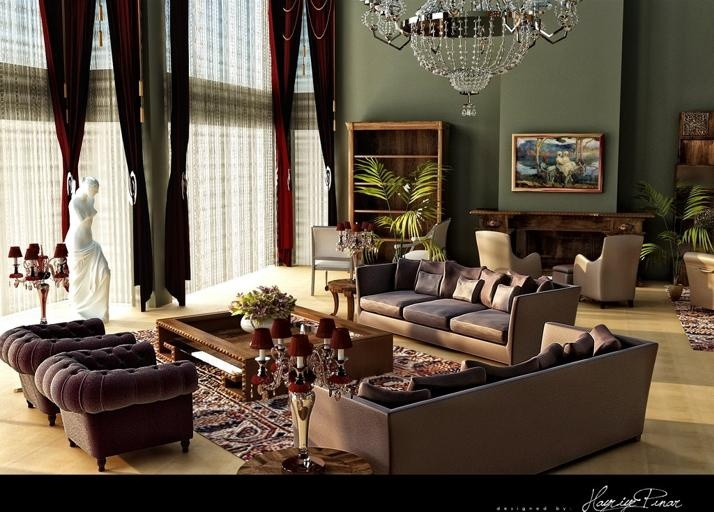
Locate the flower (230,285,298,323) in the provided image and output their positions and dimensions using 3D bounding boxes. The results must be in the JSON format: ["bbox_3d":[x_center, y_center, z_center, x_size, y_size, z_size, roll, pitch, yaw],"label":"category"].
[{"bbox_3d":[-1.082,0.517,5.767,0.468,0.267,0.460,1,2,-33],"label":"flower"}]

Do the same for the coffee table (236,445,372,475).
[{"bbox_3d":[-0.309,1.238,3.120,0.777,0.098,0.421,4,-9,-8],"label":"coffee table"}]

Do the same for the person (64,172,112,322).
[{"bbox_3d":[-3.746,-0.074,7.281,0.640,1.983,0.699,6,-8,-25],"label":"person"}]
